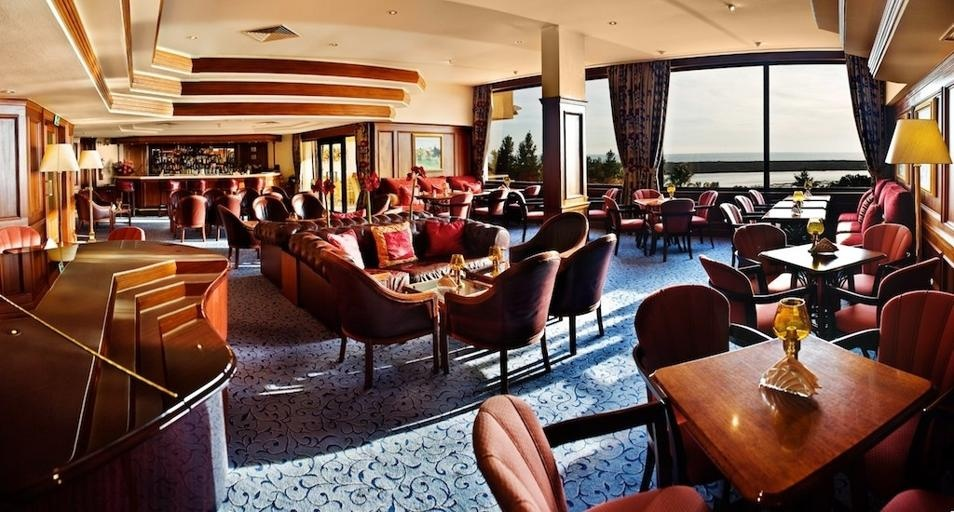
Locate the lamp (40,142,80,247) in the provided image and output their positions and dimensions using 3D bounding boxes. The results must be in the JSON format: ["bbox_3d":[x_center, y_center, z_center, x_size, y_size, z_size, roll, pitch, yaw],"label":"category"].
[{"bbox_3d":[-6.040,-0.831,8.063,0.479,1.653,0.444,4,22,-26],"label":"lamp"}]
